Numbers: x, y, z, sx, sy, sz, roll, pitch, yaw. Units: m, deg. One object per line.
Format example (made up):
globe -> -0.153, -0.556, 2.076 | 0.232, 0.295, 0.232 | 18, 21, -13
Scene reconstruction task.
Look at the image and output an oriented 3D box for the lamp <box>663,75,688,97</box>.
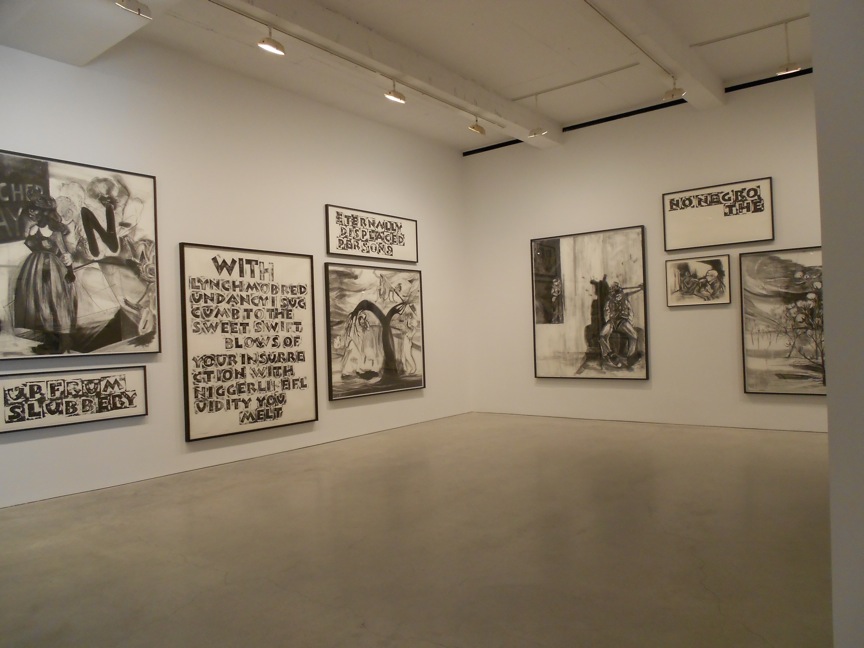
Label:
lamp -> 3.273, -3.215, 8.174 | 0.063, 0.257, 0.242 | -11, 14, -32
